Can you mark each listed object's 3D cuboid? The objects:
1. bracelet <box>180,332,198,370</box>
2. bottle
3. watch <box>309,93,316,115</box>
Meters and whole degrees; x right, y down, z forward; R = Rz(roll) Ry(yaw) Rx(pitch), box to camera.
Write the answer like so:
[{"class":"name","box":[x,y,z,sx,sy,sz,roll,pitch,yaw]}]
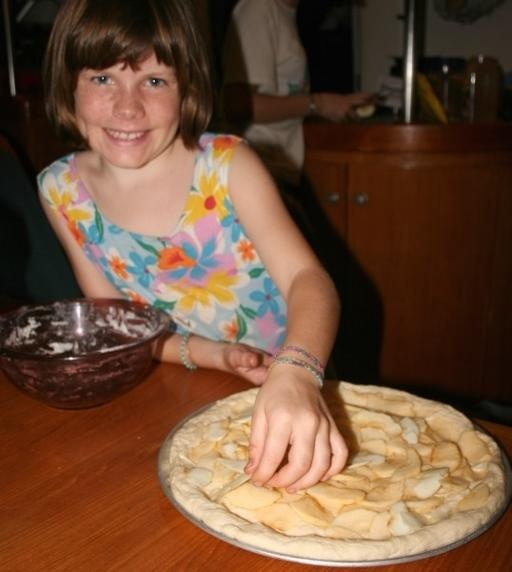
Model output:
[{"class":"bracelet","box":[-0.119,0.116,0.949,0.035,0.045,0.012,13,-32,-44]},{"class":"bottle","box":[0.855,-0.775,2.153,0.205,0.239,0.270,6,21,21]},{"class":"watch","box":[0.219,-0.720,2.172,0.040,0.064,0.066,-3,-22,0]}]
